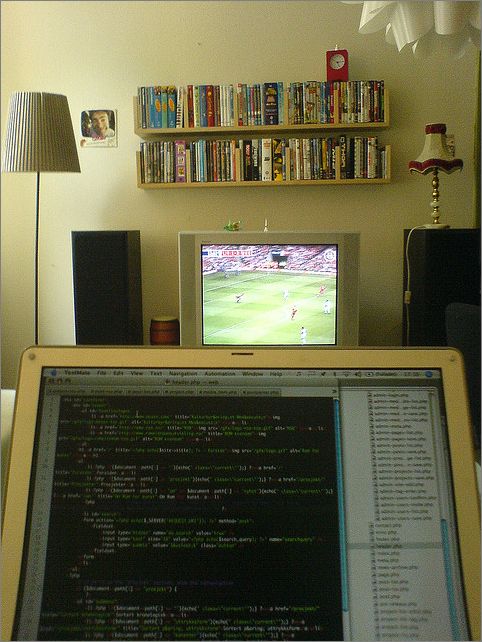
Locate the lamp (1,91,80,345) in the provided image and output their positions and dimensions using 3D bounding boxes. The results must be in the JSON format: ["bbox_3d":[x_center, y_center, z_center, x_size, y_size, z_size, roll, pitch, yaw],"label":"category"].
[{"bbox_3d":[-1.068,-0.524,2.953,0.382,1.357,0.486,-5,8,-20],"label":"lamp"}]

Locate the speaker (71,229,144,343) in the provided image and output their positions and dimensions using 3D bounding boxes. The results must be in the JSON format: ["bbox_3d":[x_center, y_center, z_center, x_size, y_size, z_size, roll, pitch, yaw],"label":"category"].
[{"bbox_3d":[-0.762,-0.086,2.965,0.348,0.740,0.380,4,-27,-26],"label":"speaker"}]

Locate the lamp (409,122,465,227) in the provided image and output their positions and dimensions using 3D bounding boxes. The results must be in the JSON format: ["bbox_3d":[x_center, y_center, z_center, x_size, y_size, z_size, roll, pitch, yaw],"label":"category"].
[{"bbox_3d":[0.969,-0.722,2.680,0.239,0.503,0.576,1,10,22],"label":"lamp"}]

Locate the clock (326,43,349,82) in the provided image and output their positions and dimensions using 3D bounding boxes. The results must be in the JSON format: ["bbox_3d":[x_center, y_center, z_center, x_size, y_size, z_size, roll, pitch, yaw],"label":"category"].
[{"bbox_3d":[0.517,-1.350,2.885,0.119,0.176,0.130,-1,8,10],"label":"clock"}]
